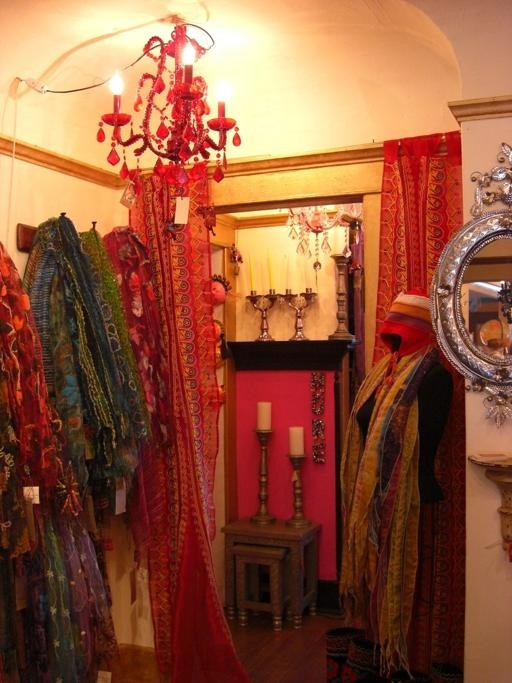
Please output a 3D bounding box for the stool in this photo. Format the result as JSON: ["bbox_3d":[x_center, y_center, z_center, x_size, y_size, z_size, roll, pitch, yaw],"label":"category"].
[{"bbox_3d":[0.115,1.229,3.691,0.483,0.530,0.481,-1,-3,22],"label":"stool"}]

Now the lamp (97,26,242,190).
[{"bbox_3d":[-0.260,-0.785,2.145,0.411,0.583,0.386,4,5,-4],"label":"lamp"}]

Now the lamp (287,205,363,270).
[{"bbox_3d":[0.336,-0.596,3.750,0.354,0.414,0.366,4,6,37],"label":"lamp"}]
